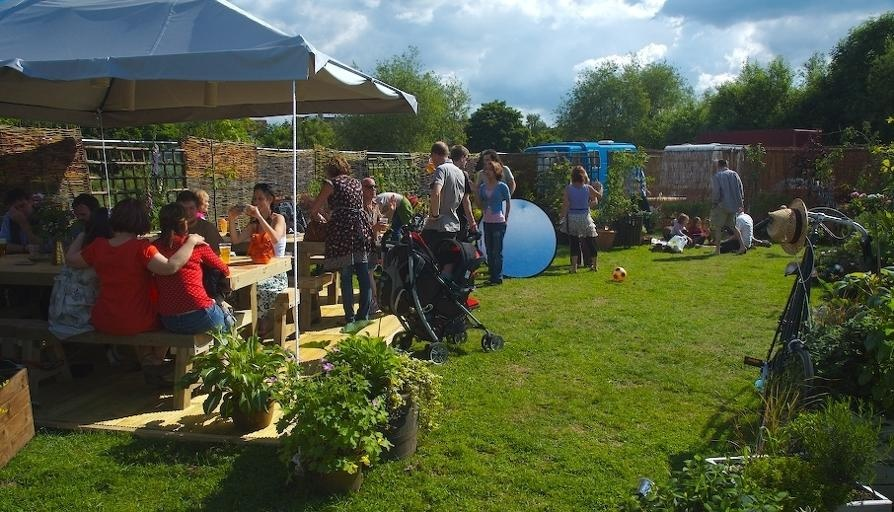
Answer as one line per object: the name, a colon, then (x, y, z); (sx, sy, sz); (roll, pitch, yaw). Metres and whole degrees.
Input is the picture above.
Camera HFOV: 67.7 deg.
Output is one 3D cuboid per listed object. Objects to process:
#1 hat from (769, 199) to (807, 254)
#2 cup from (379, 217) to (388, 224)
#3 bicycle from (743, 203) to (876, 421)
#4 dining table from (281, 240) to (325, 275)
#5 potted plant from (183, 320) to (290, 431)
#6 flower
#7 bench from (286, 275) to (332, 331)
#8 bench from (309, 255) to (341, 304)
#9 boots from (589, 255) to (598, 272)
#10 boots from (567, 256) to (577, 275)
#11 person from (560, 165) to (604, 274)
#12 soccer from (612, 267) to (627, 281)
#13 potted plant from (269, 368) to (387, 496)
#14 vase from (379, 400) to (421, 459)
hat: (3.925, -0.333, 7.686); (0.410, 0.635, 0.298); (3, 4, 28)
cup: (-0.985, -0.540, 10.349); (0.106, 0.084, 0.107); (1, 0, 0)
bicycle: (3.982, 0.486, 7.460); (1.008, 2.241, 1.321); (2, 4, 20)
dining table: (-2.337, 0.019, 10.542); (0.495, 0.626, 0.656); (-3, -7, -5)
potted plant: (-2.338, 1.468, 7.657); (1.112, 1.003, 1.356); (-6, -5, 5)
flower: (-0.844, 1.175, 7.195); (0.915, 0.495, 1.124); (11, 13, 17)
bench: (-2.041, 0.646, 10.161); (0.618, 0.838, 1.260); (0, 3, 1)
bench: (-1.917, 0.374, 10.419); (0.288, 0.519, 0.765); (0, 4, 4)
boots: (3.088, 0.174, 14.046); (0.252, 0.444, 0.271); (-1, 5, 10)
boots: (2.653, 0.178, 13.961); (0.180, 0.356, 0.500); (1, 4, 11)
person: (2.788, -0.755, 13.932); (0.782, 2.194, 0.535); (-2, 4, -32)
soccer: (3.375, 0.336, 13.048); (0.242, 0.293, 0.255); (12, 30, 15)
potted plant: (-1.126, 2.015, 6.940); (0.807, 0.835, 0.805); (-3, -9, 29)
vase: (-0.577, 1.904, 7.238); (0.509, 0.548, 0.518); (-1, -2, -12)
